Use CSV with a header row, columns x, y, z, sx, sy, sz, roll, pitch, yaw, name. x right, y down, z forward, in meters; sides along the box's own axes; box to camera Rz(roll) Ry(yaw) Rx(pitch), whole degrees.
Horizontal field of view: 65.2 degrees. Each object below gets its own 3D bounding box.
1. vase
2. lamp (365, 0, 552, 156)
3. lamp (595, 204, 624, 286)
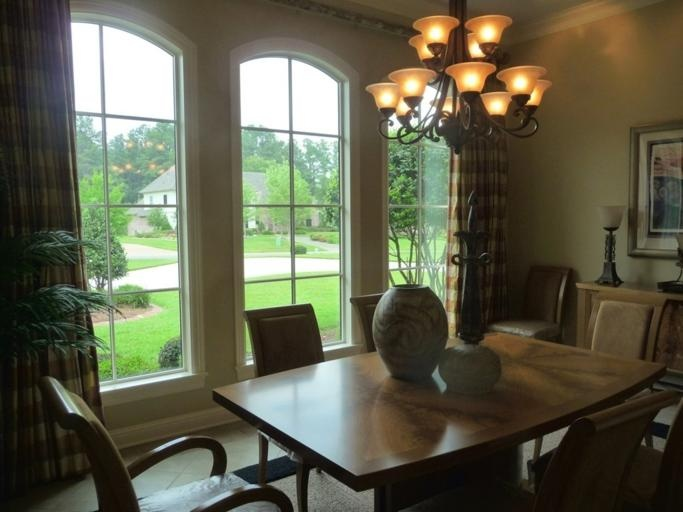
x,y,z,sx,sy,sz,roll,pitch,yaw,name
0.343,0.366,2.669,0.352,0.440,0.359,-2,7,14,vase
0.877,-1.249,3.539,0.965,1.075,1.900,5,14,20,lamp
2.312,-0.111,4.597,0.210,0.646,0.545,2,13,10,lamp
